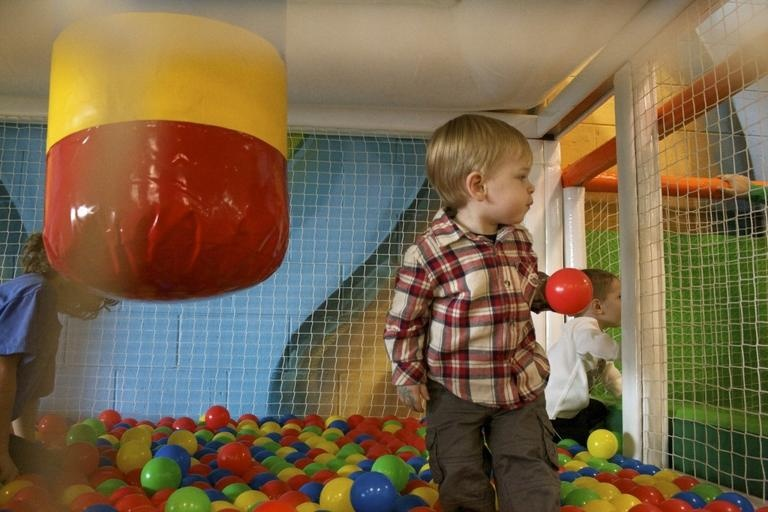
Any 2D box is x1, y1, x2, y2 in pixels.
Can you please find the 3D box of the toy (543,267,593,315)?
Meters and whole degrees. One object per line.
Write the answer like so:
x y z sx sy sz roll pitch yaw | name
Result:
0.472 0.089 1.637 0.108 0.081 0.156 -12 -7 16 | toy
